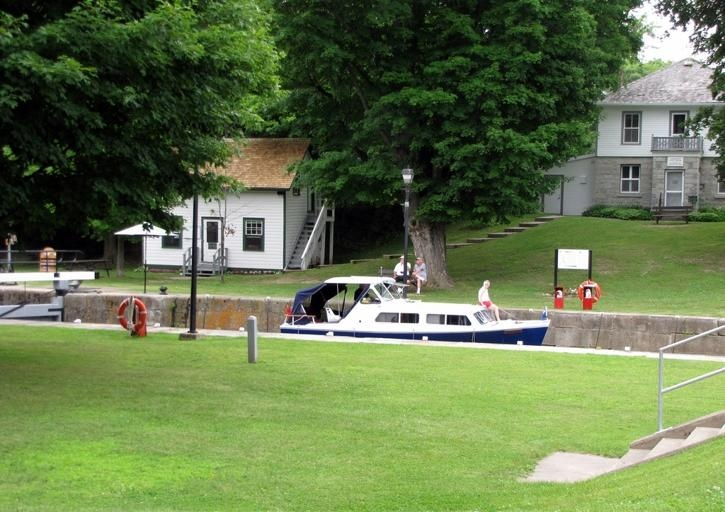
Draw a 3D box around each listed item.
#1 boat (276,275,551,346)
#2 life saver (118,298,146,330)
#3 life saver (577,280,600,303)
[{"bbox_3d":[1.247,1.911,49.358,8.212,1.839,2.763,5,15,22],"label":"boat"},{"bbox_3d":[-7.518,1.946,48.780,1.185,1.256,0.544,4,-3,10],"label":"life saver"},{"bbox_3d":[7.743,1.323,51.363,0.666,0.763,0.861,1,14,7],"label":"life saver"}]
